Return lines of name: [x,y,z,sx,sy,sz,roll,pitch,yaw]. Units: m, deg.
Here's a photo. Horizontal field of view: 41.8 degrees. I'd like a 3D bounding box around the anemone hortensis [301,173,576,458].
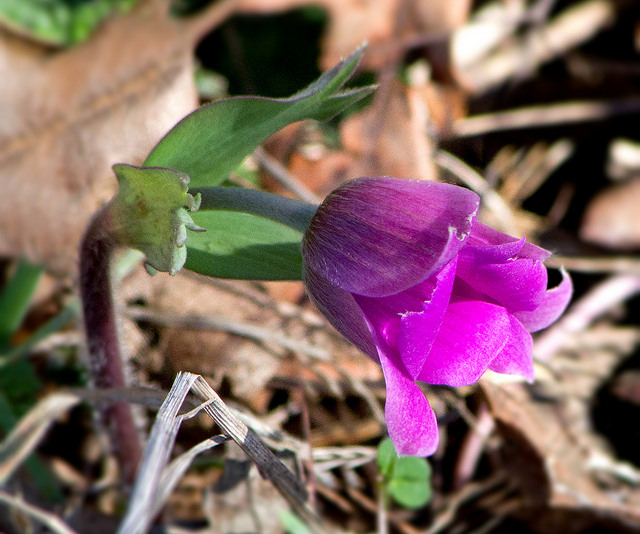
anemone hortensis: [0.175,0.048,1.437,0.235,0.437,0.445,5,98,27]
